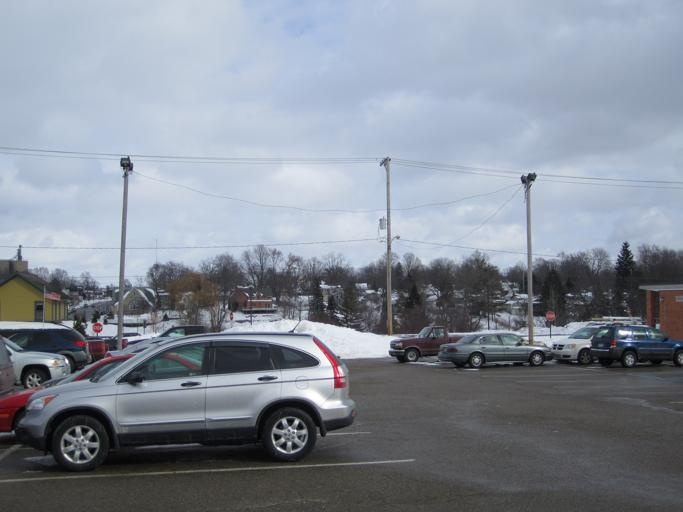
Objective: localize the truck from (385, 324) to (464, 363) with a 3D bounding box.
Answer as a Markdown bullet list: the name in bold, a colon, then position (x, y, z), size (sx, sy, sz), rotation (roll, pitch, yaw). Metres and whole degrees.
- **truck**: position (3.557, 4.079, 36.397), size (2.945, 1.307, 1.558), rotation (1, -6, -20)

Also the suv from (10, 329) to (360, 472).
- **suv**: position (-2.914, 2.868, 15.834), size (5.681, 2.467, 2.753), rotation (2, -9, -6)
